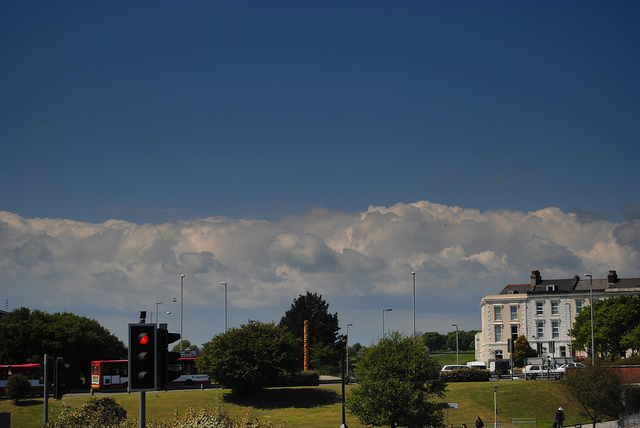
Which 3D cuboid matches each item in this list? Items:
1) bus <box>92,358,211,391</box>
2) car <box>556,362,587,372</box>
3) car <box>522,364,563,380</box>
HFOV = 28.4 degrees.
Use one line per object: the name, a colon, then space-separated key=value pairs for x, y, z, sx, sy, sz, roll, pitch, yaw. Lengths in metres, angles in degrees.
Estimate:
bus: x=-24.661 y=23.447 z=190.793 sx=18.332 sy=5.034 sz=4.377 roll=1 pitch=11 yaw=-21
car: x=38.246 y=23.309 z=191.519 sx=3.356 sy=1.046 sz=1.555 roll=-2 pitch=-3 yaw=0
car: x=34.277 y=24.706 z=196.945 sx=4.138 sy=1.643 sz=2.238 roll=-2 pitch=-5 yaw=2
